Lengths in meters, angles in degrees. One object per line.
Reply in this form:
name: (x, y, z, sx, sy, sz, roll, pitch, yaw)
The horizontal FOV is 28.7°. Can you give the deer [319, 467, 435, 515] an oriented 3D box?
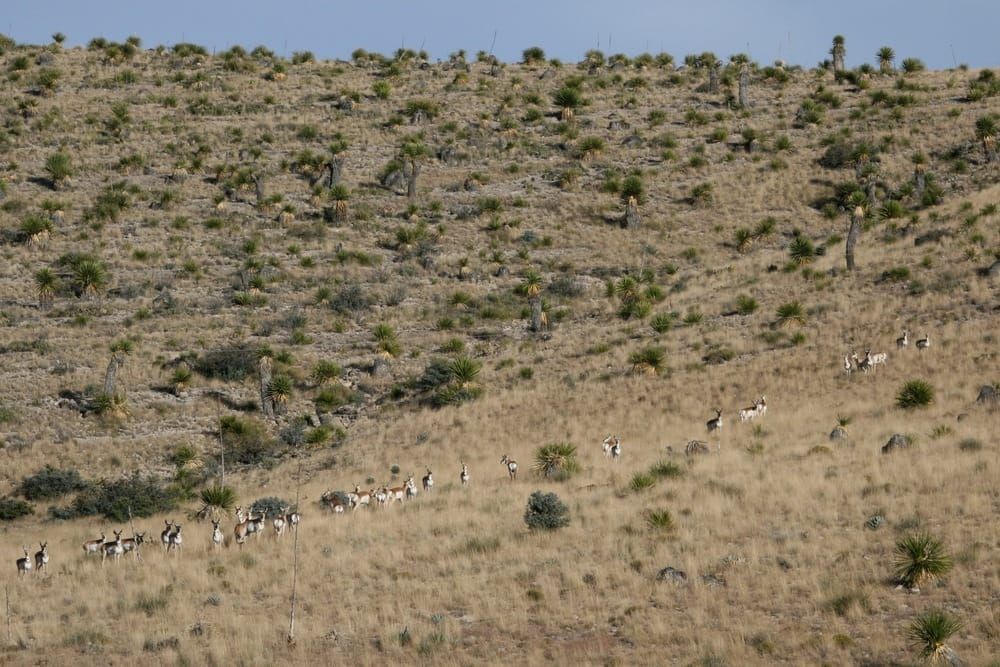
deer: (-8.547, 10.889, 133.188, 7.544, 2.447, 2.458, -2, 5, -11)
